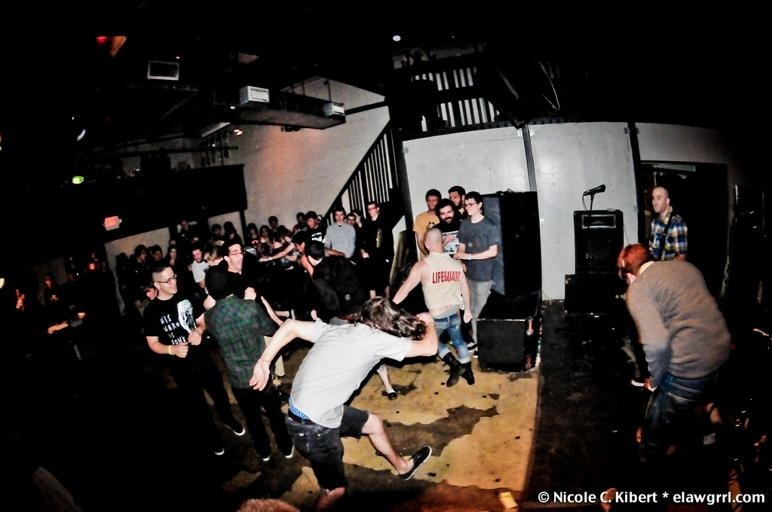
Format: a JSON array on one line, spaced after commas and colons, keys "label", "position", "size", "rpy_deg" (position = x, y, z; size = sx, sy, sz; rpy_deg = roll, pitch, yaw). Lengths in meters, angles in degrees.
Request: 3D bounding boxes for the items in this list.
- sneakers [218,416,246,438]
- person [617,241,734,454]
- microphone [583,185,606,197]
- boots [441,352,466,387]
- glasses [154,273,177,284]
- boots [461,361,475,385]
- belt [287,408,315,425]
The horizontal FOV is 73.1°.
[{"label": "sneakers", "position": [-2.248, 2.496, 7.769], "size": [0.228, 0.461, 0.090], "rpy_deg": [-38, 22, 31]}, {"label": "person", "position": [3.550, 1.207, 6.494], "size": [1.183, 2.615, 0.543], "rpy_deg": [3, 13, 30]}, {"label": "microphone", "position": [3.942, -1.255, 9.903], "size": [0.157, 0.154, 0.508], "rpy_deg": [-10, -12, -30]}, {"label": "boots", "position": [1.069, 1.803, 8.192], "size": [0.241, 0.474, 0.458], "rpy_deg": [13, 22, -27]}, {"label": "glasses", "position": [-3.121, 0.312, 7.311], "size": [0.200, 0.059, 0.196], "rpy_deg": [-6, 3, 34]}, {"label": "boots", "position": [1.271, 1.859, 8.198], "size": [0.120, 0.336, 0.241], "rpy_deg": [-12, -3, -25]}, {"label": "belt", "position": [-1.026, 1.947, 6.305], "size": [0.254, 0.122, 0.185], "rpy_deg": [31, -11, -26]}]
